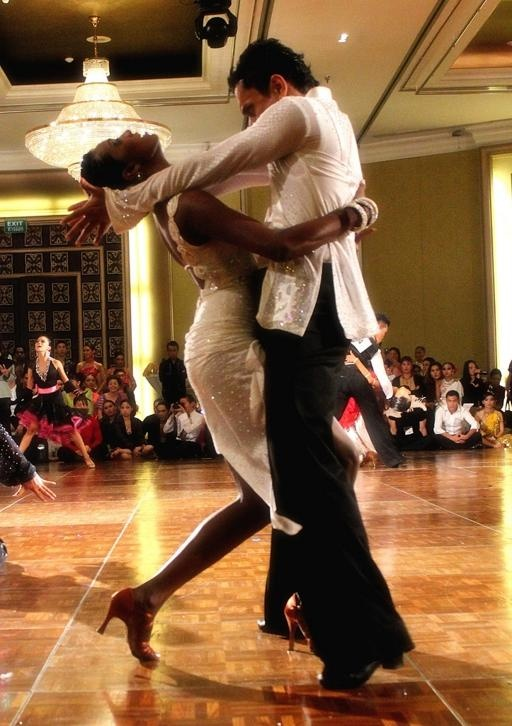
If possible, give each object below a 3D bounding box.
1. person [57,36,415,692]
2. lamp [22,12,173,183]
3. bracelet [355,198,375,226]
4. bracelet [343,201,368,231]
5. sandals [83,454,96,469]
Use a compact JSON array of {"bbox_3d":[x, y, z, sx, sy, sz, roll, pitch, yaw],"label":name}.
[{"bbox_3d":[-0.012,-0.028,1.117,0.570,1.200,0.356,-5,-6,26],"label":"person"},{"bbox_3d":[-1.440,-2.471,5.362,1.407,1.466,1.210,-4,7,-15],"label":"lamp"},{"bbox_3d":[0.189,-0.261,0.997,0.020,0.043,0.049,-5,-2,6],"label":"bracelet"},{"bbox_3d":[0.168,-0.246,0.970,0.044,0.042,0.052,-1,3,12],"label":"bracelet"},{"bbox_3d":[-1.919,1.138,6.661,0.086,0.173,0.056,-6,28,23],"label":"sandals"}]
